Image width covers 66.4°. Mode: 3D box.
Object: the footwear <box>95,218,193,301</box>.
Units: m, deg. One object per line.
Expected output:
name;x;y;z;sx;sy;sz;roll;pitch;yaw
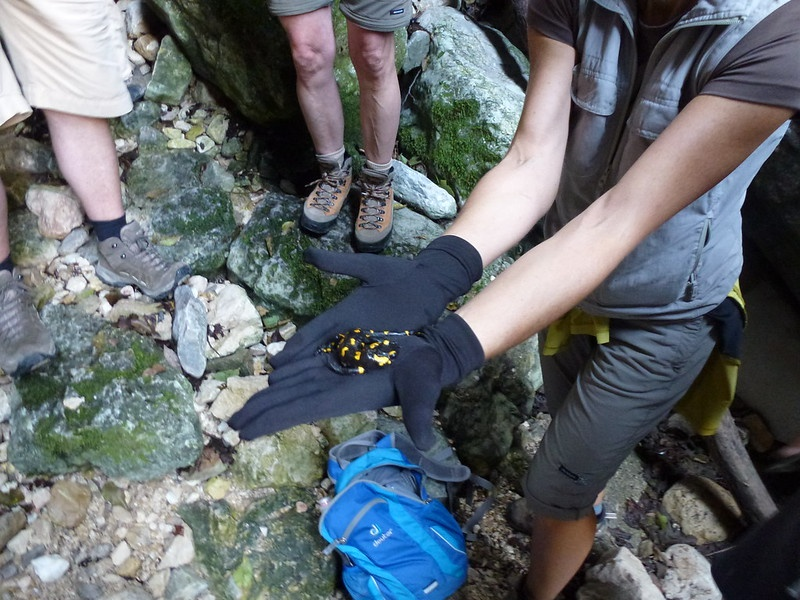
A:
footwear;-1.488;-0.230;3.508;0.524;0.335;0.261;13;28;-1

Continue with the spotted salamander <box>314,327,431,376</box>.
spotted salamander;-0.143;0.175;2.175;0.263;0.065;0.163;1;48;3

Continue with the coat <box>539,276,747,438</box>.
coat;1.266;0.266;2.735;0.485;0.349;0.601;20;62;45

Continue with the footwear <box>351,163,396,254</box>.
footwear;-0.150;-0.568;3.857;0.201;0.269;0.627;2;77;1

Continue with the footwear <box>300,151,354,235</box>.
footwear;-0.458;-0.669;3.912;0.168;0.312;0.523;18;77;8

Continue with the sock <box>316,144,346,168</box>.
sock;-0.428;-0.900;3.778;0.142;0.129;0.115;-4;14;-43
